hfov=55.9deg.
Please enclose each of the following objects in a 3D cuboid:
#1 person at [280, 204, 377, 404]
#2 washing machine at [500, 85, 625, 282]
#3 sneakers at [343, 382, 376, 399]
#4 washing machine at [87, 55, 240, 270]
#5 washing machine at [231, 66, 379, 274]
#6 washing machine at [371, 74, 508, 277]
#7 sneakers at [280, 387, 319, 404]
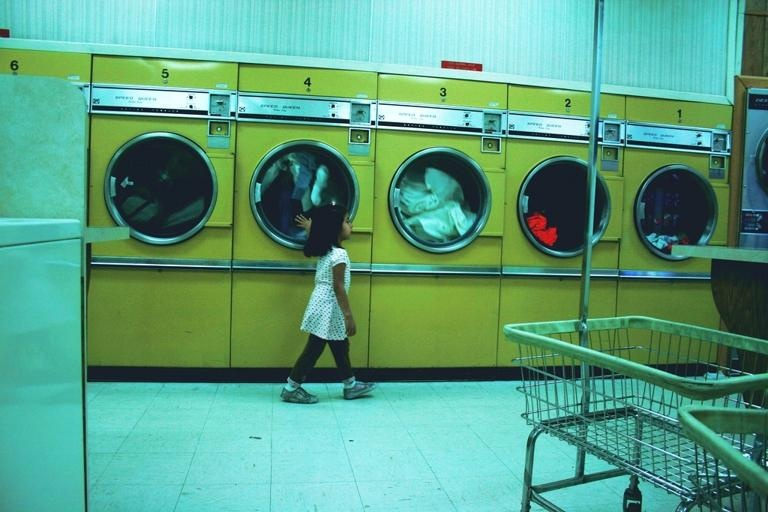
[{"bbox_3d":[-0.399,0.322,5.120,0.642,1.372,0.302,0,6,-2],"label":"person"},{"bbox_3d":[1.479,-0.678,6.108,1.054,1.463,1.048,2,12,15],"label":"washing machine"},{"bbox_3d":[-0.175,0.952,5.206,0.204,0.090,0.105,-13,12,-28],"label":"sneakers"},{"bbox_3d":[-1.677,-0.624,5.629,1.040,1.526,0.852,0,-9,-12],"label":"washing machine"},{"bbox_3d":[-0.604,-0.566,5.644,1.079,1.457,0.866,3,-18,-12],"label":"washing machine"},{"bbox_3d":[0.400,-0.663,5.985,1.127,1.473,1.059,1,6,3],"label":"washing machine"},{"bbox_3d":[-0.596,0.972,5.109,0.260,0.116,0.101,2,-3,-3],"label":"sneakers"}]
